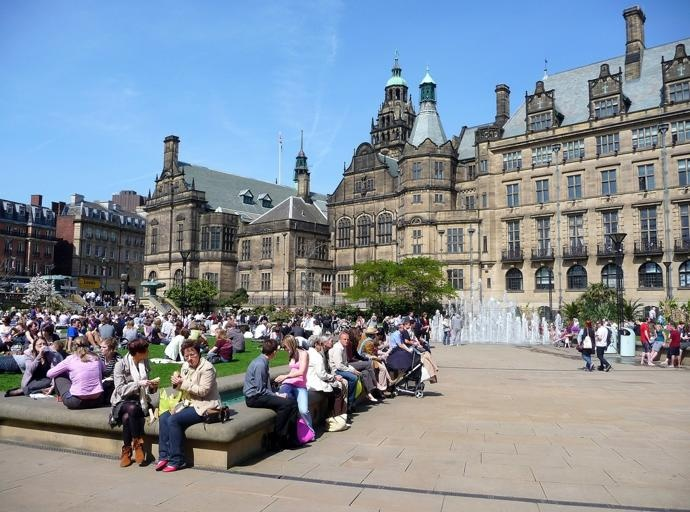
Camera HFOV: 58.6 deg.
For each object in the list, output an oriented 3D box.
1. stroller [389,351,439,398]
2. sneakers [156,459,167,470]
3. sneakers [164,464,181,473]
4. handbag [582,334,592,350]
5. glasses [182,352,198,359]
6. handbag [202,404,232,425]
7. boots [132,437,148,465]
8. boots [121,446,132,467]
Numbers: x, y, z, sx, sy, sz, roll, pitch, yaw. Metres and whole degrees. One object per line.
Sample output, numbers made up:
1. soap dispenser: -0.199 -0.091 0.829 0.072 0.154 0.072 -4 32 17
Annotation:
1. stroller: 2.071 3.563 19.064 1.538 1.379 1.282 -4 -8 20
2. sneakers: -3.715 4.229 12.478 0.118 0.083 0.298 27 -45 -34
3. sneakers: -3.502 4.296 12.489 0.323 0.085 0.122 14 -16 -36
4. handbag: 9.492 3.370 24.243 0.416 0.319 0.574 19 -33 23
5. glasses: -3.216 2.081 12.876 0.155 0.088 0.205 -8 -20 5
6. handbag: -2.699 3.183 12.891 0.282 0.326 0.602 1 -3 44
7. boots: -4.234 4.033 12.841 0.273 0.529 0.348 0 0 25
8. boots: -4.516 4.108 12.683 0.204 0.405 0.160 0 0 -13
